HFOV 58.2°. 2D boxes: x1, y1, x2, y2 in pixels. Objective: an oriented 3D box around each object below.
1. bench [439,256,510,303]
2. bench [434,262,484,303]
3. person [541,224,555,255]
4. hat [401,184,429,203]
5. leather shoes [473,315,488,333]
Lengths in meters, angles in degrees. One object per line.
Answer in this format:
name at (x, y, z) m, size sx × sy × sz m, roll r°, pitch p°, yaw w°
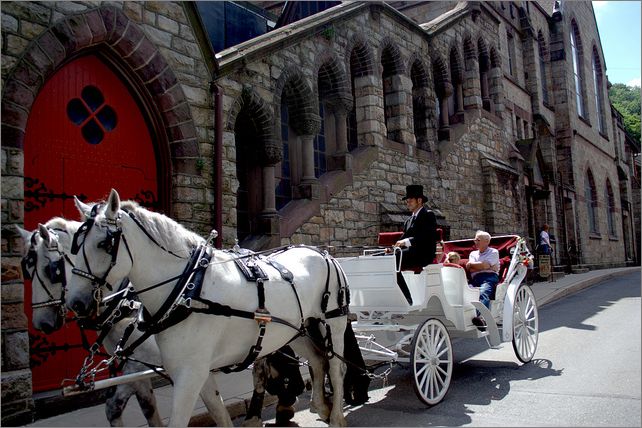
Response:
bench at (2.951, 1.119, 11.539) m, size 0.913 × 1.309 × 1.092 m, roll -8°, pitch -20°, yaw 32°
bench at (2.407, 1.269, 10.569) m, size 0.816 × 0.823 × 0.632 m, roll -1°, pitch 0°, yaw -41°
person at (9.334, 1.091, 23.970) m, size 0.396 × 1.294 × 1.319 m, roll -5°, pitch -7°, yaw 22°
hat at (1.744, -0.351, 10.564) m, size 0.358 × 0.194 × 0.347 m, roll 2°, pitch -3°, yaw -13°
leather shoes at (2.892, 2.004, 10.511) m, size 0.186 × 0.331 × 0.110 m, roll -35°, pitch 1°, yaw -15°
